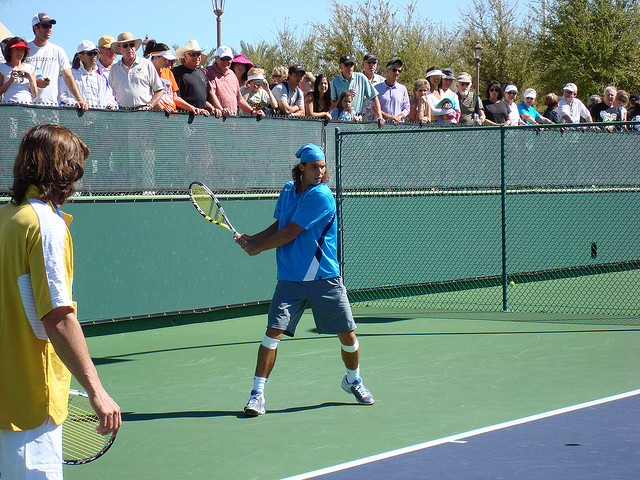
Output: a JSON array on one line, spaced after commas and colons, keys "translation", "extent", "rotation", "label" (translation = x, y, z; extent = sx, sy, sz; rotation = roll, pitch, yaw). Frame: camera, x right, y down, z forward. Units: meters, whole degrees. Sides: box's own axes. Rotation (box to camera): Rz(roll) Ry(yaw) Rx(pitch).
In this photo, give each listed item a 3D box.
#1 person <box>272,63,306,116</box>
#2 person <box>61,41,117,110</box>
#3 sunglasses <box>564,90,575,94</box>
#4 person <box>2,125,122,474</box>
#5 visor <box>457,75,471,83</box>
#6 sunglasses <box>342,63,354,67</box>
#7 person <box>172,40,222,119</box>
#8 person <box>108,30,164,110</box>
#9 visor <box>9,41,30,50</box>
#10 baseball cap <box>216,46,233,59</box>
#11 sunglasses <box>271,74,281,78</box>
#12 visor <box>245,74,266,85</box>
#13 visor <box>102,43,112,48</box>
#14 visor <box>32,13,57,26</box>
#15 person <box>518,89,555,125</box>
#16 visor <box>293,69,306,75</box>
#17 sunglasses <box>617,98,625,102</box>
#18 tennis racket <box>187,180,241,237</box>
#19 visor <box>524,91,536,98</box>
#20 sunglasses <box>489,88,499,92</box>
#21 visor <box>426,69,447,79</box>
[{"translation": [-0.485, -2.235, 12.244], "extent": [0.485, 0.759, 0.544], "rotation": [-1, 7, -2], "label": "person"}, {"translation": [-3.007, -2.128, 10.558], "extent": [0.625, 0.863, 1.400], "rotation": [-2, 7, -8], "label": "person"}, {"translation": [4.642, -2.791, 15.423], "extent": [0.197, 0.070, 0.085], "rotation": [-4, 8, -23], "label": "sunglasses"}, {"translation": [-1.646, 0.372, 4.975], "extent": [0.650, 2.119, 0.441], "rotation": [-2, 8, -11], "label": "person"}, {"translation": [2.379, -2.722, 13.817], "extent": [0.218, 0.139, 0.193], "rotation": [2, 8, 21], "label": "visor"}, {"translation": [0.404, -2.669, 12.484], "extent": [0.169, 0.063, 0.085], "rotation": [-3, 8, -16], "label": "sunglasses"}, {"translation": [-1.705, -2.196, 11.166], "extent": [0.600, 1.062, 1.472], "rotation": [-3, 8, -12], "label": "person"}, {"translation": [-2.440, -2.230, 10.801], "extent": [0.721, 1.041, 1.343], "rotation": [-3, 8, -14], "label": "person"}, {"translation": [-3.565, -2.327, 9.787], "extent": [0.125, 0.088, 0.277], "rotation": [2, 8, 19], "label": "visor"}, {"translation": [-1.356, -2.652, 11.546], "extent": [0.209, 0.183, 0.385], "rotation": [-2, 7, -6], "label": "baseball cap"}, {"translation": [-0.707, -2.466, 12.316], "extent": [0.046, 0.046, 0.176], "rotation": [-3, 8, -17], "label": "sunglasses"}, {"translation": [-0.971, -2.353, 11.964], "extent": [0.276, 0.131, 0.246], "rotation": [-1, 7, 1], "label": "visor"}, {"translation": [-2.887, -2.635, 11.114], "extent": [0.066, 0.020, 0.052], "rotation": [-18, 51, -4], "label": "visor"}, {"translation": [-3.414, -2.734, 10.137], "extent": [0.248, 0.140, 0.181], "rotation": [-4, 8, -25], "label": "visor"}, {"translation": [3.837, -2.324, 14.767], "extent": [0.376, 0.839, 0.815], "rotation": [-3, 11, -18], "label": "person"}, {"translation": [-0.337, -2.475, 12.018], "extent": [0.112, 0.061, 0.152], "rotation": [-1, -2, -19], "label": "visor"}, {"translation": [5.566, -2.611, 15.263], "extent": [0.111, 0.072, 0.044], "rotation": [2, 8, 20], "label": "sunglasses"}, {"translation": [-1.390, -0.412, 10.404], "extent": [0.106, 0.288, 1.145], "rotation": [19, -25, 37], "label": "tennis racket"}, {"translation": [3.719, -2.609, 14.661], "extent": [0.183, 0.114, 0.189], "rotation": [0, 7, 5], "label": "visor"}, {"translation": [2.959, -2.581, 14.077], "extent": [0.161, 0.065, 0.118], "rotation": [0, 7, 7], "label": "sunglasses"}, {"translation": [1.873, -2.729, 13.459], "extent": [0.289, 0.158, 0.325], "rotation": [-2, 7, -6], "label": "visor"}]
